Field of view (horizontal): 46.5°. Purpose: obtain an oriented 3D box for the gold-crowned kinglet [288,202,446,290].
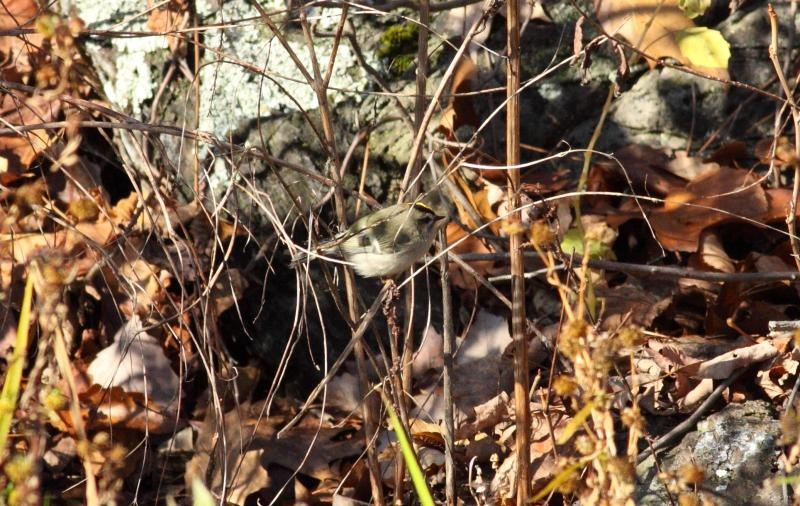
[{"bbox_3d":[-0.106,-0.091,6.329,0.613,0.514,0.558,0,-4,29],"label":"gold-crowned kinglet"}]
